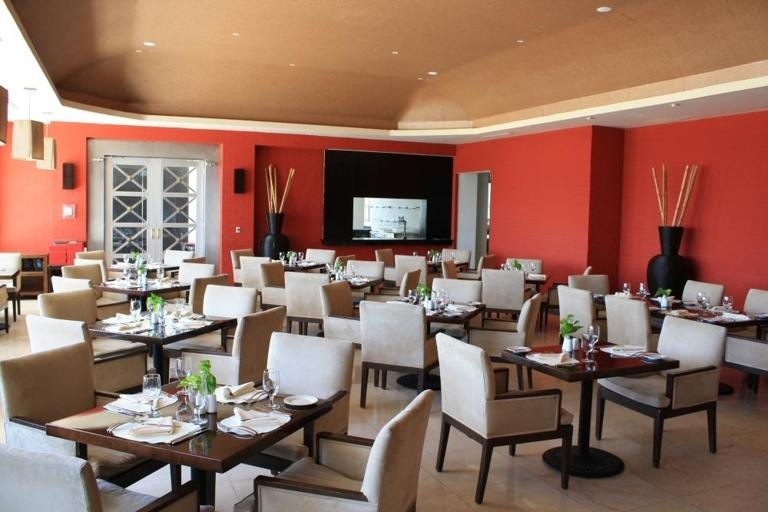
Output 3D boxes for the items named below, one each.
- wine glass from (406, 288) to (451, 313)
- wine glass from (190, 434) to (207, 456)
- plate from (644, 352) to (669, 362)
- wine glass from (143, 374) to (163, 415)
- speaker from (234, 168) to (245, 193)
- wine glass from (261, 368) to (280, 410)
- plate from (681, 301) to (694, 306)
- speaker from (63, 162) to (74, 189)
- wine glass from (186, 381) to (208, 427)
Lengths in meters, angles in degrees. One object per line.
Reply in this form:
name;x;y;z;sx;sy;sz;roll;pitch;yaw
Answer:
wine glass;0.511;0.546;6.934;0.424;0.138;0.336;3;5;37
wine glass;-1.210;1.256;3.625;0.090;0.085;0.091;-5;-10;40
plate;2.544;0.952;5.141;0.241;0.034;0.202;0;3;-5
wine glass;-1.709;0.988;4.027;0.102;0.289;0.283;-2;4;-23
speaker;-3.345;-1.752;12.700;0.262;0.591;0.085;-1;4;-14
wine glass;-0.862;0.988;4.198;0.105;0.283;0.265;-1;4;-11
plate;4.314;0.673;7.763;0.127;0.026;0.128;1;1;42
speaker;-6.883;-1.740;11.948;0.238;0.565;0.140;-1;5;-18
wine glass;-1.311;1.034;3.876;0.129;0.288;0.133;-3;5;-33
